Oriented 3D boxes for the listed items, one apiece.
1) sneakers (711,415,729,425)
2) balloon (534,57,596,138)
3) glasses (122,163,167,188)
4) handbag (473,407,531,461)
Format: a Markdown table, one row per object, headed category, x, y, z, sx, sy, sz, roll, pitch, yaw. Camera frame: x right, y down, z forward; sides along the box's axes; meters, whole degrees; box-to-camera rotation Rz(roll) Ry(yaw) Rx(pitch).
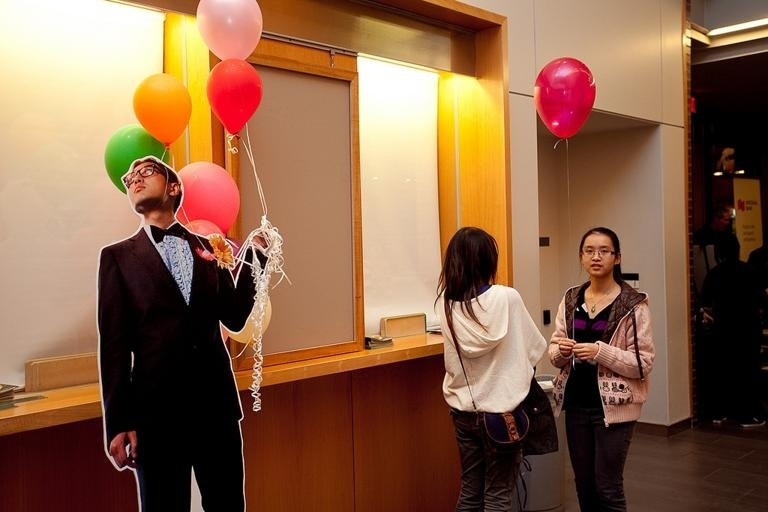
| category | x | y | z | sx | sy | sz | roll | pitch | yaw |
| --- | --- | --- | --- | --- | --- | --- | --- | --- | --- |
| sneakers | 3.552 | 1.747 | 6.325 | 0.209 | 0.095 | 0.074 | 2 | -11 | -21 |
| balloon | 1.182 | -1.045 | 3.939 | 0.418 | 0.601 | 0.444 | -2 | 2 | -12 |
| glasses | -1.087 | -0.379 | 2.700 | 0.108 | 0.043 | 0.139 | -20 | 26 | 15 |
| handbag | 0.651 | 0.940 | 3.374 | 0.323 | 0.352 | 0.198 | -4 | -16 | -17 |
